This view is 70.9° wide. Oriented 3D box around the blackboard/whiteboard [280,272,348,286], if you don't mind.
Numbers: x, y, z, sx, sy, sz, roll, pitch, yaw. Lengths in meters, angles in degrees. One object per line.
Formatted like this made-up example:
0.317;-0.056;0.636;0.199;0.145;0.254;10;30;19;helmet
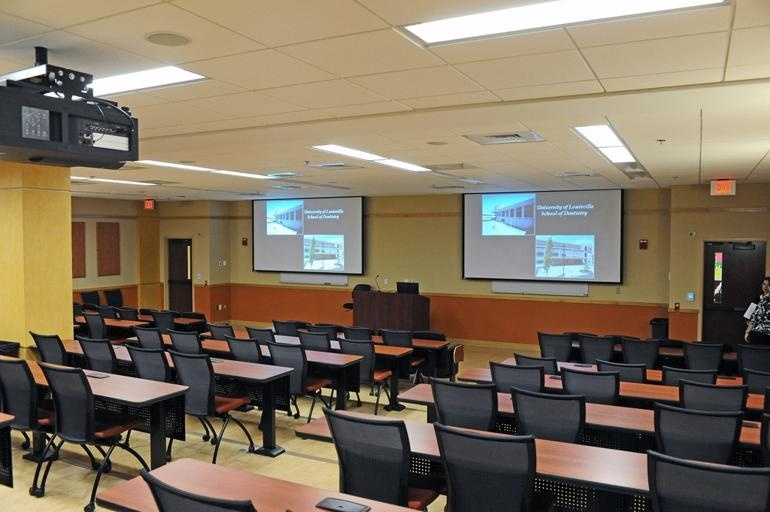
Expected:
-2.007;0.675;15.223;2.208;0.322;0.047;0;2;24;blackboard/whiteboard

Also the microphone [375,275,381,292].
-0.190;0.707;14.474;0.081;0.419;0.179;-2;2;-44;microphone

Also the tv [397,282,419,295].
0.529;0.759;12.639;0.455;0.220;0.283;0;1;-3;tv

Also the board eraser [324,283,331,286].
-1.604;0.800;15.026;0.171;0.065;0.011;0;2;28;board eraser

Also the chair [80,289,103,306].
-7.611;1.086;13.957;0.531;0.578;0.481;-2;-4;36;chair

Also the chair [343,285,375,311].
-0.763;1.036;13.714;0.632;0.780;0.744;-3;-11;41;chair
